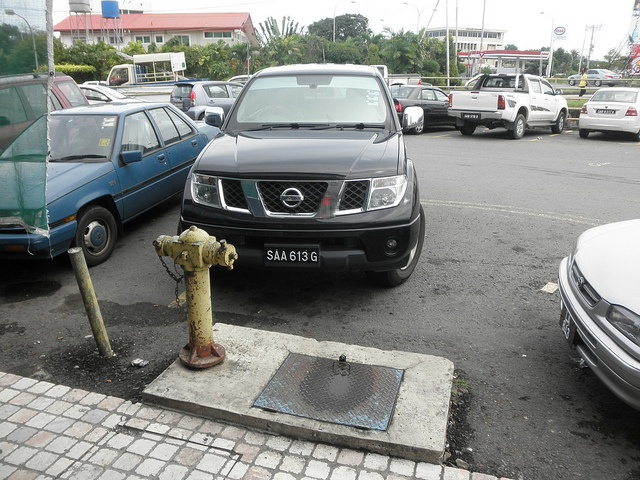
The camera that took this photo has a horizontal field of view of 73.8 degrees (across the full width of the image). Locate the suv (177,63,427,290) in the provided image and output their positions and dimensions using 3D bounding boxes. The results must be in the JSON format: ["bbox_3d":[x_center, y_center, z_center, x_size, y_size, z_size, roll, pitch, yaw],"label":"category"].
[{"bbox_3d":[0.042,-0.854,5.154,1.839,1.615,3.139,1,17,9],"label":"suv"}]

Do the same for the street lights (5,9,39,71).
[{"bbox_3d":[-2.167,-1.474,3.124,0.233,0.394,0.092,12,24,30],"label":"street lights"}]

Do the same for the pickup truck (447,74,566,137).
[{"bbox_3d":[7.129,-5.104,15.975,4.276,2.018,2.217,-20,27,-37],"label":"pickup truck"}]

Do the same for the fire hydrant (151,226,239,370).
[{"bbox_3d":[-0.950,0.424,3.293,0.627,1.068,0.389,-1,20,-3],"label":"fire hydrant"}]
